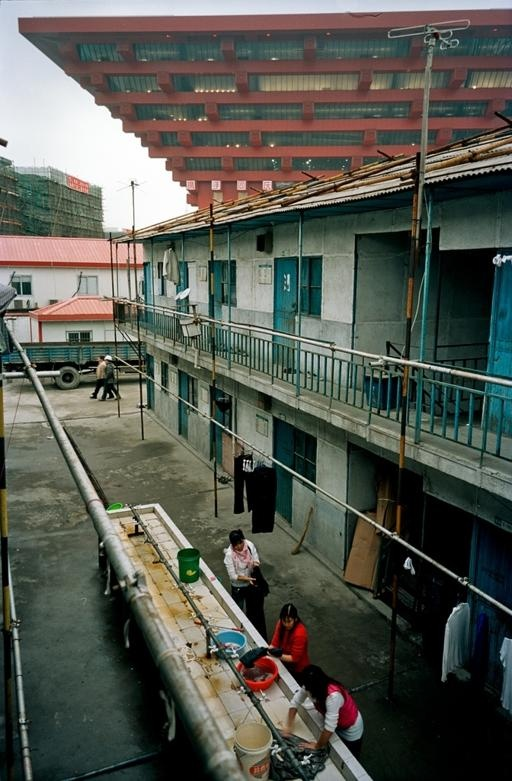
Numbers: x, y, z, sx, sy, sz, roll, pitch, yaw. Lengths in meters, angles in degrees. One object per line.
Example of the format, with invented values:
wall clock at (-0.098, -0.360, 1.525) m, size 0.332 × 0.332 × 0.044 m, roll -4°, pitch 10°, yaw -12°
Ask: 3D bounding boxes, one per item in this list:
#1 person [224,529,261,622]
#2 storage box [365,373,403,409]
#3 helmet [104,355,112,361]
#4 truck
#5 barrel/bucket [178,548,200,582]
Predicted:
person at (-0.184, 2.522, 8.059) m, size 0.424 × 1.292 × 0.496 m, roll -2°, pitch 10°, yaw 4°
storage box at (1.829, 0.033, 8.274) m, size 0.431 × 0.506 × 0.626 m, roll -2°, pitch 9°, yaw -17°
helmet at (-6.582, -1.436, 25.974) m, size 0.414 × 0.250 × 0.594 m, roll 2°, pitch 7°, yaw -3°
truck at (-9.003, -2.241, 28.452) m, size 5.599 × 4.452 × 5.750 m, roll -7°, pitch 11°, yaw -17°
barrel/bucket at (-0.859, 2.232, 7.482) m, size 0.270 × 0.416 × 0.335 m, roll -5°, pitch 11°, yaw -9°
